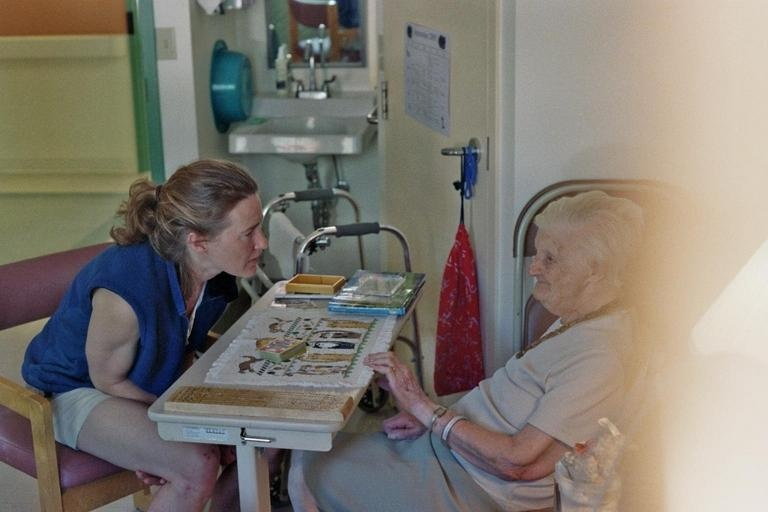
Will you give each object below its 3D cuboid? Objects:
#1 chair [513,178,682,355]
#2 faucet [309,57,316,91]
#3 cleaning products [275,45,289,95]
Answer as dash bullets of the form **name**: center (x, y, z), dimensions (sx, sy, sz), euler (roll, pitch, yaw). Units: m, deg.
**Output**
- **chair**: center (0.500, 0.106, 1.695), dimensions (0.282, 0.489, 0.268), euler (-7, -4, 16)
- **faucet**: center (-0.418, -1.069, 3.933), dimensions (0.049, 0.181, 0.167), euler (-4, 18, -6)
- **cleaning products**: center (-0.596, -1.096, 3.962), dimensions (0.094, 0.287, 0.226), euler (-5, 18, -7)
